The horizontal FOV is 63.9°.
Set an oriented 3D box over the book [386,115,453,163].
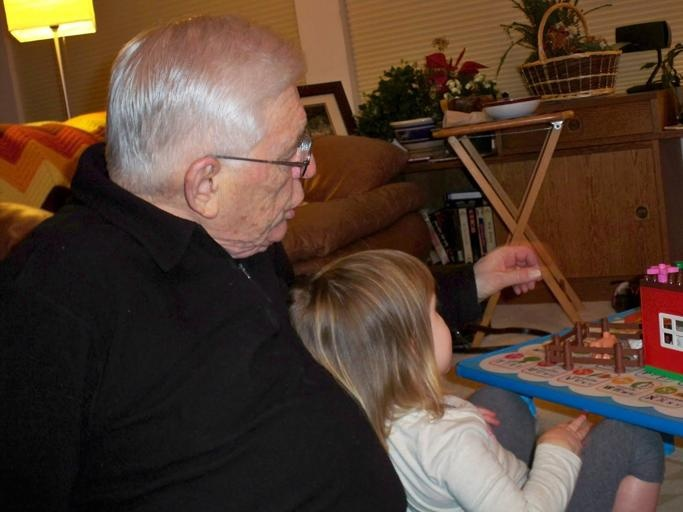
[{"bbox_3d":[0.431,-0.613,2.942,0.286,0.262,0.088,-1,49,0],"label":"book"}]
